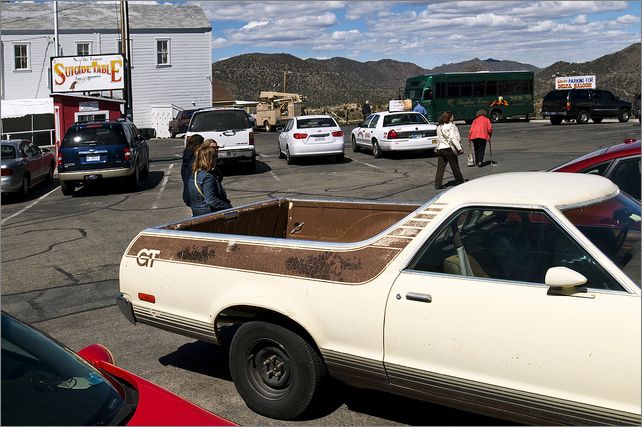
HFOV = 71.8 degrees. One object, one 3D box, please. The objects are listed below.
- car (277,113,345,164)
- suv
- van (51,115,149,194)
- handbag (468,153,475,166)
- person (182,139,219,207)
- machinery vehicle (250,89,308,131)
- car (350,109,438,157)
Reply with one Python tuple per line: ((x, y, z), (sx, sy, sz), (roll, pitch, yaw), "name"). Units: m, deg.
((-0.466, -3.436, 20.653), (2.959, 2.199, 1.852), (-1, 14, 6), "car")
((21.202, -8.652, 35.587), (6.475, 2.764, 1.411), (-3, 14, 0), "suv")
((-8.331, -2.200, 16.808), (2.615, 2.611, 2.593), (-4, 14, -6), "van")
((5.943, -2.107, 17.541), (0.192, 0.659, 1.091), (3, 15, 21), "handbag")
((-2.461, -1.012, 8.782), (0.791, 0.745, 1.786), (-3, 9, -15), "person")
((-4.198, -9.878, 42.079), (3.212, 2.737, 4.998), (-7, 13, -38), "machinery vehicle")
((3.394, -3.854, 21.592), (1.974, 2.156, 4.378), (-10, 16, -28), "car")
